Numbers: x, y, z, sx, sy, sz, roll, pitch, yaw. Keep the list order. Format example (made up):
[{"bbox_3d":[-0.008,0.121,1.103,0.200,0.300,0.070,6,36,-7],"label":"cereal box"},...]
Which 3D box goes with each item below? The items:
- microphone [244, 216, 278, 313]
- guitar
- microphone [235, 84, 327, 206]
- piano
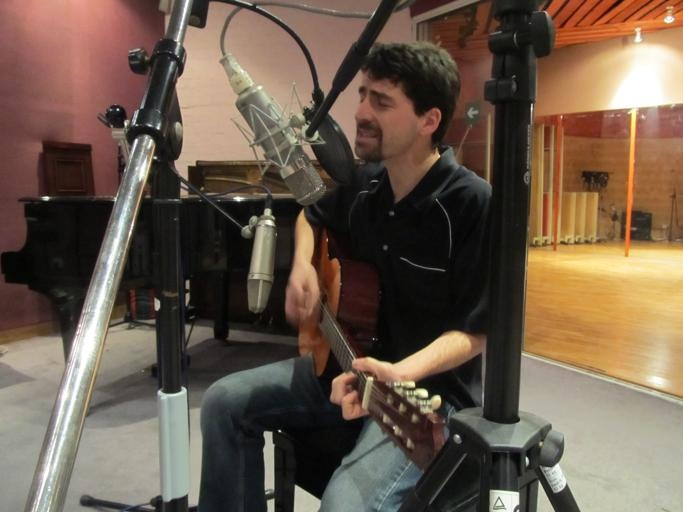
[{"bbox_3d":[-0.216,0.019,1.514,0.070,0.292,0.197,1,3,-8],"label":"microphone"},{"bbox_3d":[0.041,0.264,1.586,0.087,0.283,0.679,13,26,-24],"label":"guitar"},{"bbox_3d":[-0.153,-0.282,1.422,0.222,0.293,0.124,1,3,0],"label":"microphone"},{"bbox_3d":[-1.087,-0.041,3.561,1.748,1.102,1.275,4,-4,-40],"label":"piano"}]
